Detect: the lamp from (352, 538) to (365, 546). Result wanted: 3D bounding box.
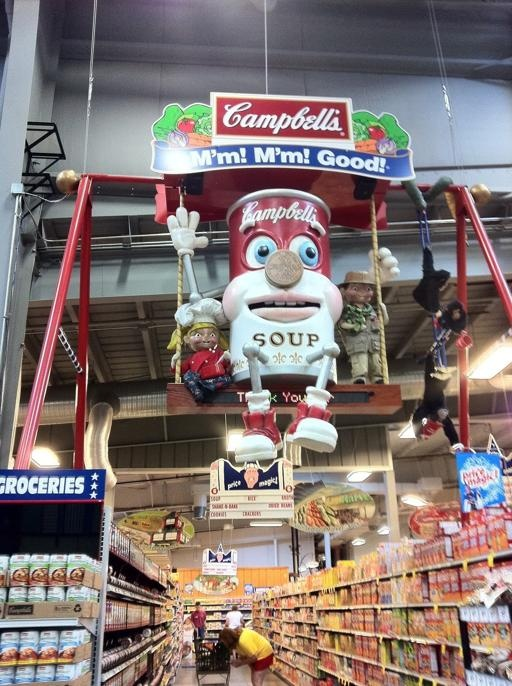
[{"bbox_3d":[3.824,7.532,20.455,0.560,0.132,0.595,-11,-17,36],"label":"lamp"}]

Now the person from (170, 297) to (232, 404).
[{"bbox_3d":[-0.421,0.064,3.983,0.459,0.968,0.699,-1,-24,-6],"label":"person"}]

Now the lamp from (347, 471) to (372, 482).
[{"bbox_3d":[2.184,2.892,11.687,0.566,0.153,0.581,-1,-16,5],"label":"lamp"}]

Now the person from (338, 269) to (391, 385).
[{"bbox_3d":[0.951,-0.102,4.991,0.380,1.206,0.673,-8,-24,12],"label":"person"}]
